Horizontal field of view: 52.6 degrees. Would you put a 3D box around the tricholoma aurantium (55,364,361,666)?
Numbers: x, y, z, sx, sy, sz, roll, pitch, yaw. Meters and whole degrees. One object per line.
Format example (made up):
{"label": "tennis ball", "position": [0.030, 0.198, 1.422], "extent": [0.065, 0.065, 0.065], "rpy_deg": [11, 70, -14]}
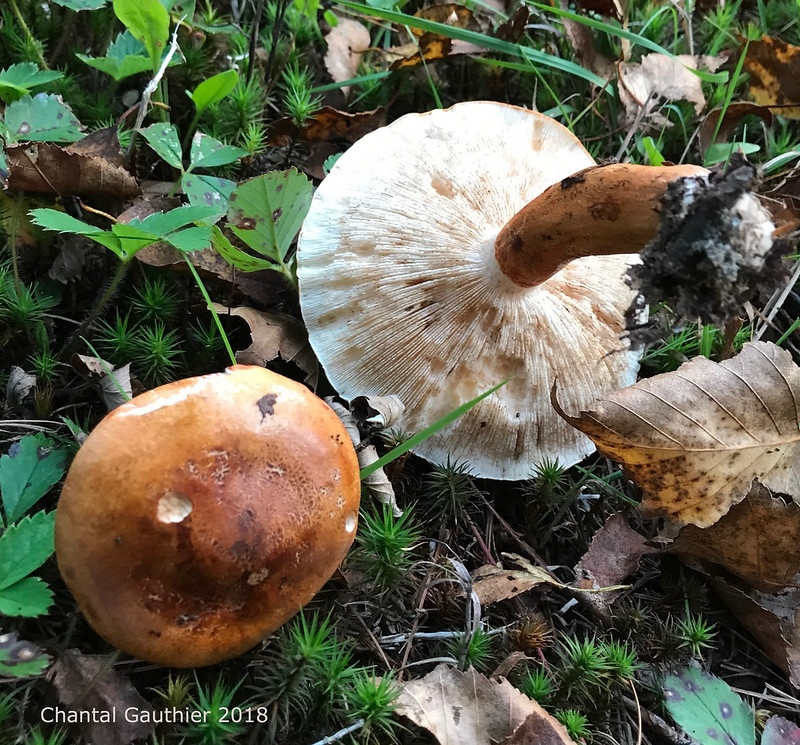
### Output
{"label": "tricholoma aurantium", "position": [-0.599, 0.383, 2.385], "extent": [0.335, 1.059, 0.829], "rpy_deg": [10, 98, 43]}

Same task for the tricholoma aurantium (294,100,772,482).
{"label": "tricholoma aurantium", "position": [0.559, -0.153, 3.253], "extent": [1.979, 1.672, 1.249], "rpy_deg": [14, 89, -12]}
